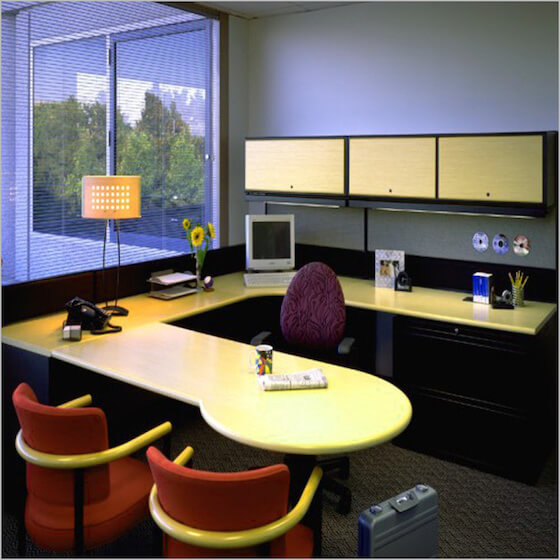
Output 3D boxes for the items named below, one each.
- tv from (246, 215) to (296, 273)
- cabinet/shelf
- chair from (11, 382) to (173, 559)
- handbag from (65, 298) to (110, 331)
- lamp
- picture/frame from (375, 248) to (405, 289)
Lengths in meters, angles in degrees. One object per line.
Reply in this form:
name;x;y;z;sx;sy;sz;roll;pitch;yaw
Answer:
tv;-0.073;-0.295;4.159;0.465;0.677;0.355;0;2;-4
cabinet/shelf;0.697;-0.731;3.386;1.992;0.501;0.157;9;13;29
chair;-0.676;0.703;1.788;0.534;0.655;0.394;-2;11;-15
handbag;-1.020;0.192;2.660;0.214;0.173;0.112;-4;12;-23
lamp;-0.998;-0.214;3.026;0.331;0.818;0.671;-3;12;-20
picture/frame;0.797;-0.078;3.648;0.208;0.352;0.023;2;3;19
